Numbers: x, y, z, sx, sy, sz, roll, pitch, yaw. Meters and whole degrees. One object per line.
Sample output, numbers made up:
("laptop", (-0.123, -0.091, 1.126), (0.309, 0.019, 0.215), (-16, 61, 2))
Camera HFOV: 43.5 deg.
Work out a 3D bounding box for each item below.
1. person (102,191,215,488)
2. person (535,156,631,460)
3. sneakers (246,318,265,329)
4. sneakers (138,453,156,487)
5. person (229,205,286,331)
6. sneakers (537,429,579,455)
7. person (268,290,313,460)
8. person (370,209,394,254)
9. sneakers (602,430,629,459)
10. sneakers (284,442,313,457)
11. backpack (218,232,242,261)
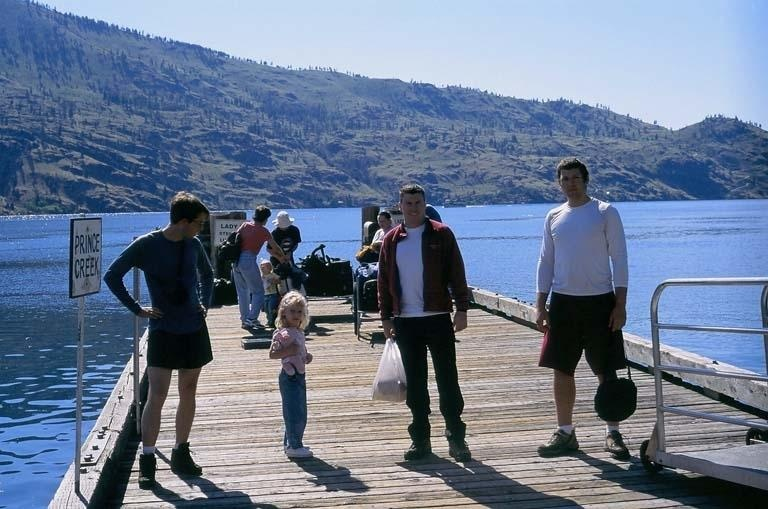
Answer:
("person", (-2.441, 0.919, 11.018), (1.258, 3.181, 0.938), (-11, 16, -36))
("person", (2.306, 0.600, 11.235), (1.011, 3.360, 0.841), (0, 13, 8))
("sneakers", (-2.202, 1.192, 16.489), (0.355, 0.156, 0.139), (6, 10, -14))
("sneakers", (-2.669, 2.411, 10.841), (0.186, 0.363, 0.198), (-3, 13, -6))
("person", (-2.128, 0.239, 16.752), (1.008, 2.073, 0.980), (-3, -5, -7))
("sneakers", (2.073, 2.204, 11.381), (0.582, 0.274, 0.209), (-3, 1, -7))
("person", (-1.090, 1.404, 11.418), (0.466, 1.853, 0.707), (-3, 13, -6))
("person", (-0.009, -0.340, 16.881), (0.492, 0.805, 0.481), (-3, 3, -18))
("sneakers", (2.713, 2.182, 11.195), (0.187, 0.286, 0.302), (-6, 14, -20))
("sneakers", (-1.008, 2.305, 11.389), (0.335, 0.147, 0.123), (0, 4, -4))
("backpack", (-2.501, -0.137, 16.208), (0.463, 0.461, 0.202), (3, -15, 37))
